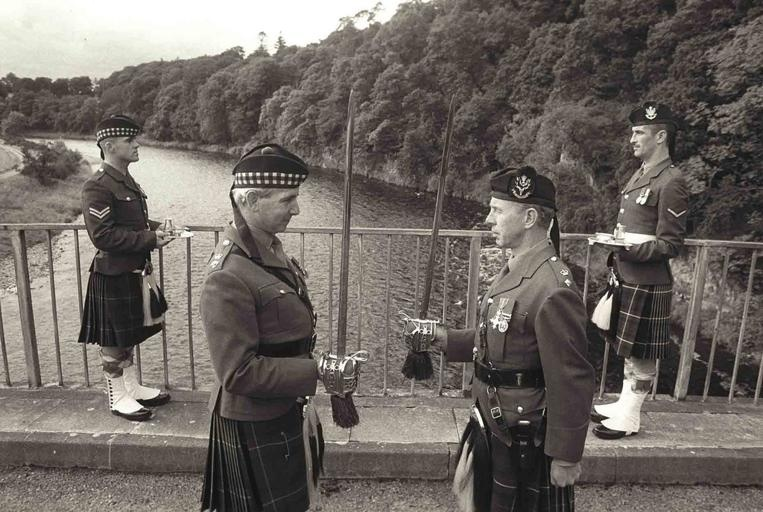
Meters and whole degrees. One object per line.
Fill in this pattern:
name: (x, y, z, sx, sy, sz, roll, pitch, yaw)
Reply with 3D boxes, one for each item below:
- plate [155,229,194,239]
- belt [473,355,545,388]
plate: (-3.900, -0.426, 16.644, 0.498, 0.112, 0.296, 0, 4, 6)
belt: (2.233, 2.086, 15.319, 1.192, 0.386, 0.144, 4, 5, 8)
